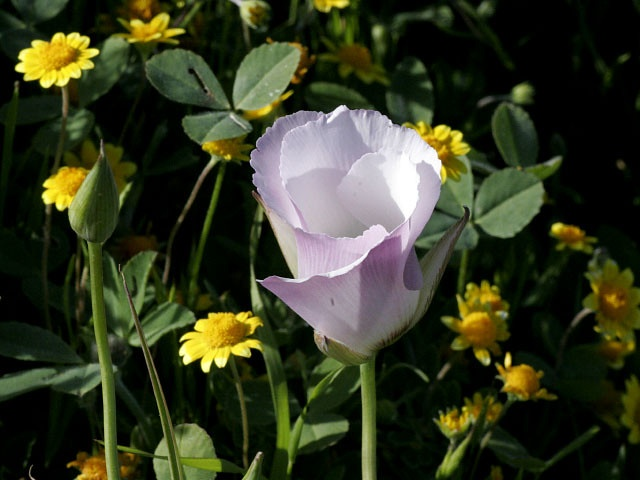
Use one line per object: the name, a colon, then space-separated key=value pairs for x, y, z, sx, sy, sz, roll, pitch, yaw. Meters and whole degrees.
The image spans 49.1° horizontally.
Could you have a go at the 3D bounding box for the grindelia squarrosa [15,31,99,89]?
grindelia squarrosa: x=-0.344 y=-0.264 z=0.902 sx=0.076 sy=0.032 sz=0.091 roll=-11 pitch=39 yaw=5
